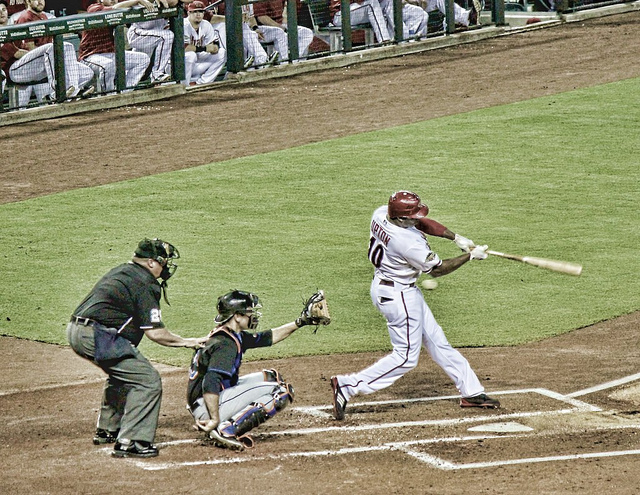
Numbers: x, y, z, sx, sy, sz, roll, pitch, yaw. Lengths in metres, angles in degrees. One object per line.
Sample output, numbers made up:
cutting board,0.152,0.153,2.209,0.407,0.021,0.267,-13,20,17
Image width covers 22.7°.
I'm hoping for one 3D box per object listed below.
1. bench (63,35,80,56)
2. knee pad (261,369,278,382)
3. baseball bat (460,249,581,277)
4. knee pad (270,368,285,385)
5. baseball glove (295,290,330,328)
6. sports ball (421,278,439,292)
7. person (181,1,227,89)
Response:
bench,-4.031,-3.390,25.962,0.376,0.223,0.342,0,1,-2
knee pad,-0.538,1.361,16.704,0.106,0.111,0.125,8,27,-13
baseball bat,2.441,0.178,19.291,1.409,0.123,0.137,10,-1,1
knee pad,-0.467,1.360,16.669,0.065,0.140,0.108,-28,2,10
baseball glove,-0.097,0.608,16.784,0.346,0.154,0.355,34,-13,-30
sports ball,1.260,0.429,17.777,0.189,0.100,0.165,-3,6,-15
person,-2.085,-3.577,27.841,0.591,1.475,0.850,-3,5,19
